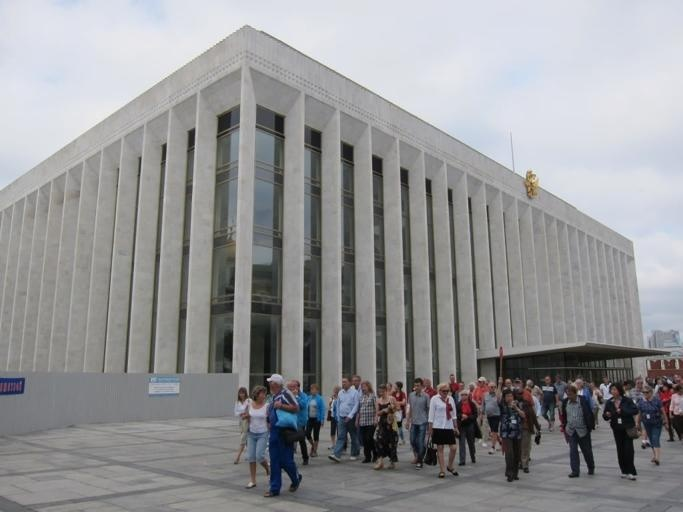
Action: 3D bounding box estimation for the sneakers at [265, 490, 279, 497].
[{"bbox_3d":[-1.561,5.327,12.147,0.123,0.134,0.316,-12,-28,31],"label":"sneakers"}]

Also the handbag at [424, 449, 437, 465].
[{"bbox_3d":[2.563,5.785,15.649,0.431,0.489,0.255,10,-13,-37],"label":"handbag"}]

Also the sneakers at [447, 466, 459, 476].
[{"bbox_3d":[2.985,5.772,14.514,0.138,0.107,0.256,21,5,-45],"label":"sneakers"}]

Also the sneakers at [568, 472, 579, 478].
[{"bbox_3d":[5.986,5.627,13.974,0.283,0.123,0.102,21,-31,-33],"label":"sneakers"}]

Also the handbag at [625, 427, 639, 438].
[{"bbox_3d":[7.684,4.643,14.258,0.222,0.273,0.280,17,-30,-31],"label":"handbag"}]
